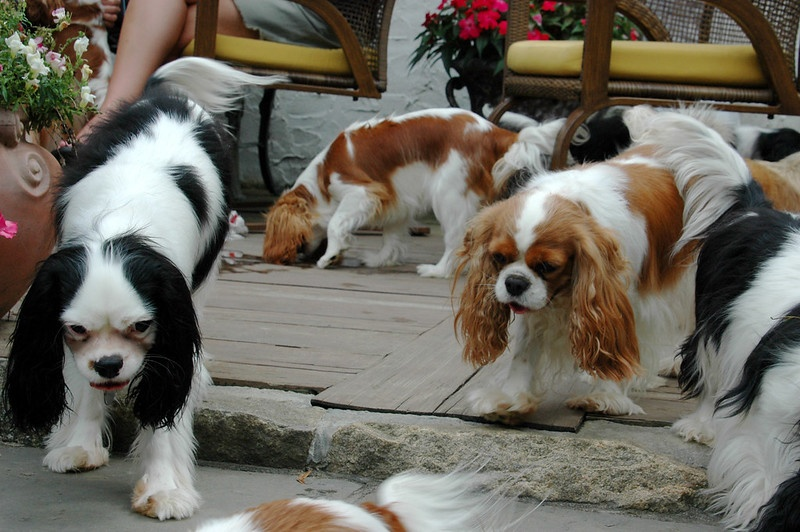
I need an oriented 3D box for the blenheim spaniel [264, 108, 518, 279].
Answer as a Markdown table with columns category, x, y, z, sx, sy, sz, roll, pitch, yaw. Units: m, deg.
| category | x | y | z | sx | sy | sz | roll | pitch | yaw |
| --- | --- | --- | --- | --- | --- | --- | --- | --- | --- |
| blenheim spaniel | -0.003 | -0.533 | 5.776 | 2.241 | 1.175 | 0.712 | 2 | 4 | 22 |
